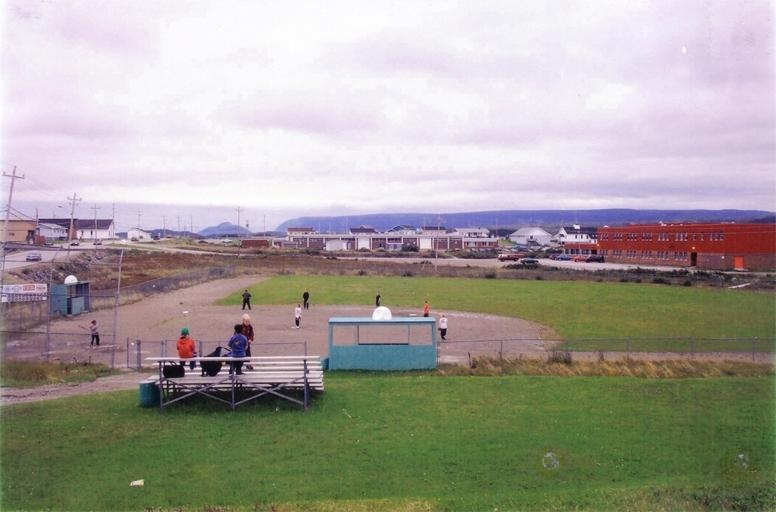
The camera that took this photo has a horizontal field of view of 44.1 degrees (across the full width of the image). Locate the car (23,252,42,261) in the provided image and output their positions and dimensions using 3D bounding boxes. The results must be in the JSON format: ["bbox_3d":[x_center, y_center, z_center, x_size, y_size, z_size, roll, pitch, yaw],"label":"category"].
[{"bbox_3d":[-34.213,0.060,92.532,1.023,0.641,2.145,0,0,-32],"label":"car"}]

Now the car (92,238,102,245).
[{"bbox_3d":[-52.104,-2.594,172.364,1.849,0.618,2.387,1,6,-8],"label":"car"}]
